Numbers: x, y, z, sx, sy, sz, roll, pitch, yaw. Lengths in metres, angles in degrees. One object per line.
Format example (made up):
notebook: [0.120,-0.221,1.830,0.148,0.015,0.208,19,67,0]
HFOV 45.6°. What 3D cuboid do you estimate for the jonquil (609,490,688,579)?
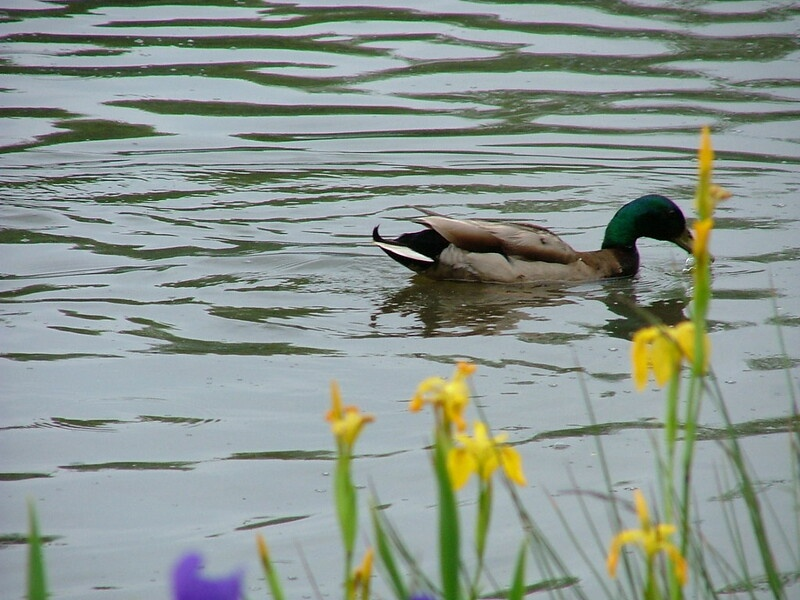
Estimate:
jonquil: [0.824,0.810,3.181,0.240,0.393,0.369,-6,3,12]

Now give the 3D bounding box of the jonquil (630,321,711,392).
jonquil: [0.872,0.186,3.102,0.206,0.209,0.116,-4,4,9]
